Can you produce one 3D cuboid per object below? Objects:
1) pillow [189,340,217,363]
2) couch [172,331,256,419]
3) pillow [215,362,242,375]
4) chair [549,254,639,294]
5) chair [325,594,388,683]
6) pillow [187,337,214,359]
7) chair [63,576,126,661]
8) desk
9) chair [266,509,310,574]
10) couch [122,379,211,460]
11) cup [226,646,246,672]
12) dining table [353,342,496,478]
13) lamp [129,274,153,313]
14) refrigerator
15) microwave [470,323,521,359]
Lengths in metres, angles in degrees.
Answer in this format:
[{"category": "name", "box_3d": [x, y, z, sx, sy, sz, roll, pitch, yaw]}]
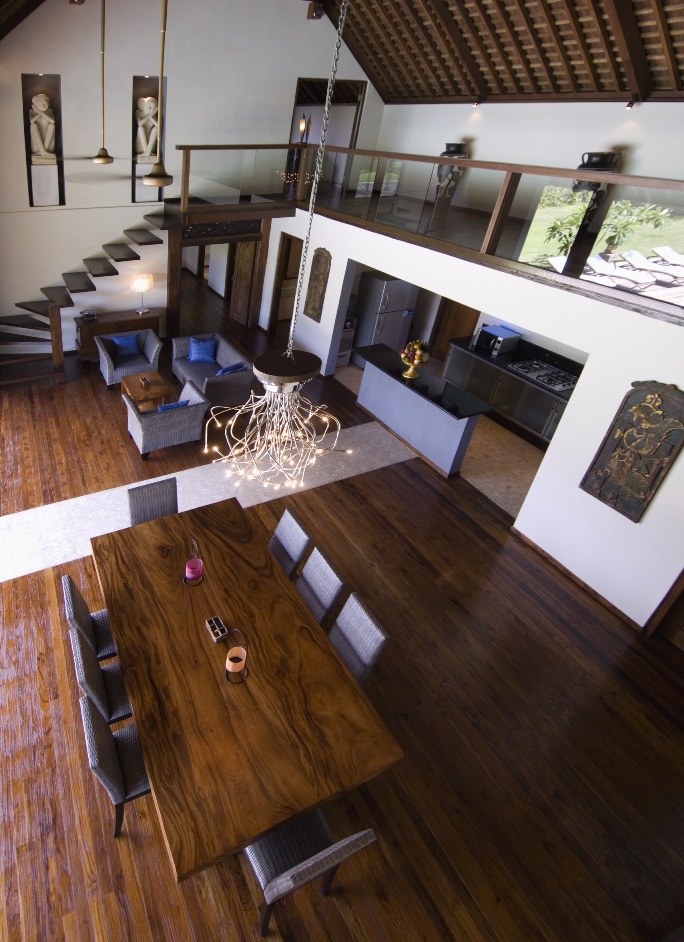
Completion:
[{"category": "pillow", "box_3d": [-2.015, -1.745, 8.369, 0.340, 0.358, 0.162, 1, 13, -16]}, {"category": "couch", "box_3d": [-1.791, -1.330, 8.133, 0.721, 0.808, 1.623, -12, 36, -28]}, {"category": "pillow", "box_3d": [-1.504, -1.393, 7.777, 0.265, 0.097, 0.278, -22, 23, 5]}, {"category": "chair", "box_3d": [2.265, -1.789, 5.273, 0.277, 0.166, 0.772, -27, 53, -20]}, {"category": "chair", "box_3d": [0.098, 1.221, 4.133, 0.381, 0.707, 0.398, -22, 52, -24]}, {"category": "pillow", "box_3d": [-2.007, -1.764, 8.365, 0.311, 0.320, 0.145, 1, 5, -15]}, {"category": "chair", "box_3d": [-1.637, 1.004, 3.864, 0.351, 0.659, 0.365, -10, 56, -15]}, {"category": "desk", "box_3d": [-0.827, 1.240, 3.845, 1.312, 0.580, 2.457, -13, 42, -29]}, {"category": "chair", "box_3d": [-0.462, 0.612, 4.913, 0.320, 0.561, 0.307, -26, 63, -29]}, {"category": "couch", "box_3d": [-1.939, -0.476, 7.035, 0.926, 0.682, 0.530, -13, -17, 15]}, {"category": "cup", "box_3d": [-0.634, 1.131, 3.480, 0.113, 0.121, 0.125, -2, 33, -19]}, {"category": "dining table", "box_3d": [0.984, -0.806, 7.824, 0.564, 1.051, 1.949, -6, 35, -35]}, {"category": "lamp", "box_3d": [-3.129, -2.802, 9.044, 0.311, 0.597, 0.525, 4, 31, -22]}, {"category": "refrigerator", "box_3d": [0.766, -2.722, 10.293, 0.832, 1.377, 0.633, -17, 41, -36]}, {"category": "microwave", "box_3d": [2.394, -2.084, 9.032, 0.596, 0.374, 0.562, -28, 50, -23]}]
